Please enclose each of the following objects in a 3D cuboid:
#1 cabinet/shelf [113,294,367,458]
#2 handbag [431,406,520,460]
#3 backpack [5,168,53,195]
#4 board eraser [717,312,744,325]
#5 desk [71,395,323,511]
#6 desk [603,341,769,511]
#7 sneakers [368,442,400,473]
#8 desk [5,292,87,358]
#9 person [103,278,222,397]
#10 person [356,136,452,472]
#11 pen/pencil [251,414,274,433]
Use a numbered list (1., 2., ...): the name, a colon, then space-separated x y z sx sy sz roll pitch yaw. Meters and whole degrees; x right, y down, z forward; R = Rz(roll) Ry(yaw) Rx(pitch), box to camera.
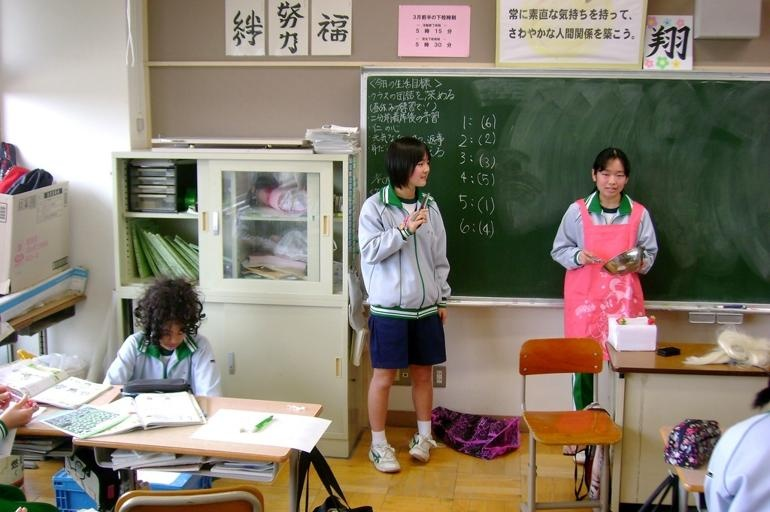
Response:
1. cabinet/shelf: -0.775 0.628 3.189 1.055 0.895 0.353 -1 1 8
2. handbag: 0.593 1.172 3.884 0.381 0.134 0.285 1 5 40
3. backpack: -2.258 -0.457 3.691 0.226 0.068 0.171 -26 34 -31
4. board eraser: 2.225 0.404 3.780 0.107 0.045 0.109 0 3 8
5. desk: -0.787 0.969 2.676 0.940 0.547 0.434 -1 5 5
6. desk: 1.571 0.903 3.399 0.829 0.802 0.711 0 16 3
7. sneakers: -0.011 1.254 3.673 0.099 0.113 0.235 -1 3 -27
8. desk: -2.224 0.401 3.824 0.458 0.443 0.454 -6 10 -32
9. person: -1.176 0.536 3.085 0.579 0.727 0.450 0 12 -26
10. person: 0.126 0.310 3.602 0.561 2.031 0.407 -2 5 -4
11. pen/pencil: -0.548 0.748 2.610 0.026 0.028 0.108 -1 26 28
